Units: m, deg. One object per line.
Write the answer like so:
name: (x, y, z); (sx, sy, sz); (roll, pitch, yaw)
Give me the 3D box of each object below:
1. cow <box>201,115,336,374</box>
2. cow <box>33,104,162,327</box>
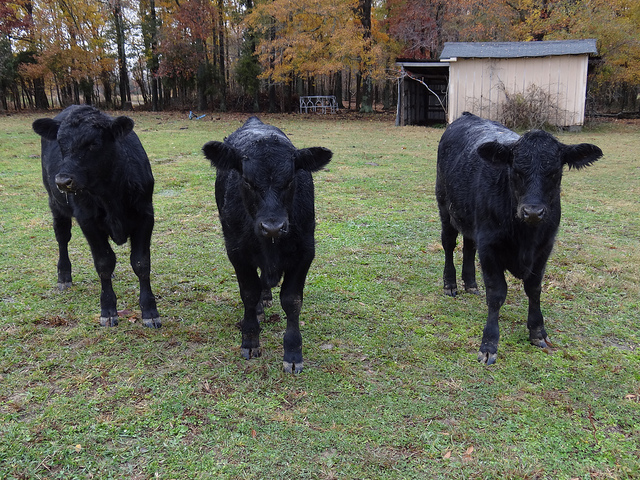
cow: (-0.644, 0.079, 6.541); (1.211, 2.597, 1.593); (-8, 16, -20)
cow: (-2.829, -0.348, 7.346); (1.280, 2.710, 1.805); (-10, 16, -26)
